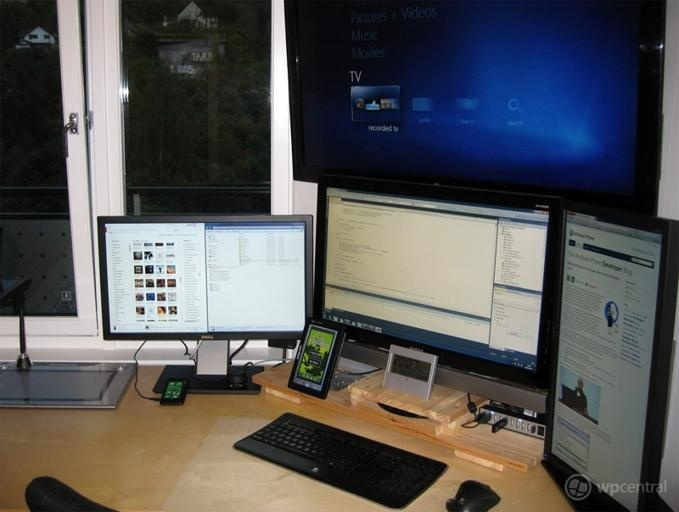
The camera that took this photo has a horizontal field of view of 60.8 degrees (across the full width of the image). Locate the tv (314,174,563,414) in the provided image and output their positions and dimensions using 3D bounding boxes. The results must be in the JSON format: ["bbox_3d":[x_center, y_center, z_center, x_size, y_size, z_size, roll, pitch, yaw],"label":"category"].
[{"bbox_3d":[0.284,0.101,1.550,0.635,0.456,0.108,10,12,37],"label":"tv"}]

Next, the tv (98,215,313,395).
[{"bbox_3d":[-0.412,0.138,1.814,0.553,0.458,0.195,0,4,0],"label":"tv"}]
